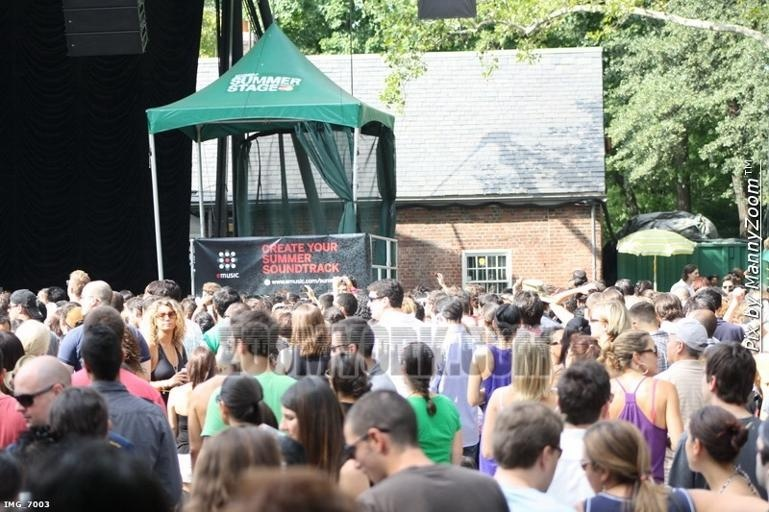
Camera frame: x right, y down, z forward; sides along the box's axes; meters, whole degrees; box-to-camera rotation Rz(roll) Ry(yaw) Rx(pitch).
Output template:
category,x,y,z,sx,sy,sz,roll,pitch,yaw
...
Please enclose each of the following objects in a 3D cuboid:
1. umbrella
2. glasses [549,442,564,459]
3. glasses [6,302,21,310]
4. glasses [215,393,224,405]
category,x,y,z,sx,sy,sz,roll,pitch,yaw
umbrella,6.659,-0.208,33.035,1.630,1.672,1.615,0,-5,-6
glasses,2.490,2.787,19.534,0.060,0.197,0.203,-18,-8,-11
glasses,-6.316,0.852,23.126,0.221,0.067,0.210,8,-3,-24
glasses,-2.467,2.123,20.235,0.112,0.073,0.145,3,3,4
